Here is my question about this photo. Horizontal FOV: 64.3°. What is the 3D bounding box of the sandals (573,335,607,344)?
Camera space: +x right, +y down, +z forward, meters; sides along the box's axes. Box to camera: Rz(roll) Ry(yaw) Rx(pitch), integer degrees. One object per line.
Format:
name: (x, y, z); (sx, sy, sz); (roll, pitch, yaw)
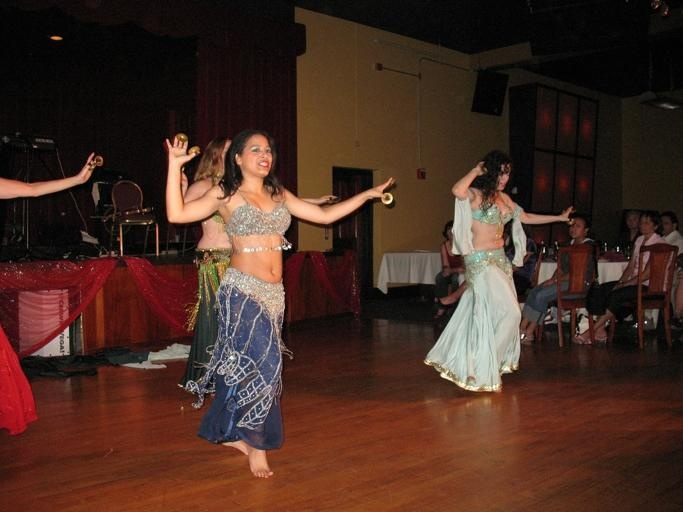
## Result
sandals: (2.934, 0.983, 6.339); (0.334, 0.108, 0.157); (2, -3, -1)

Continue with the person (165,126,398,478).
person: (-0.374, 0.301, 3.224); (1.235, 2.006, 0.482); (0, 12, -17)
